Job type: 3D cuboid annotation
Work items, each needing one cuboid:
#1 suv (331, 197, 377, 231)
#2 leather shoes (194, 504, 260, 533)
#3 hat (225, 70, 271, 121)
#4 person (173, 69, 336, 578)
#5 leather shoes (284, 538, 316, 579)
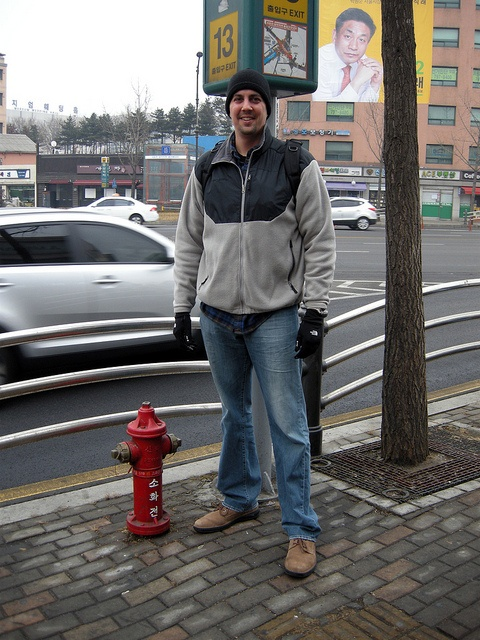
[{"bbox_3d":[5.865,-5.481,29.936,2.302,1.777,1.332,-1,5,-2],"label":"suv"},{"bbox_3d":[-0.063,0.872,2.587,0.281,0.094,0.090,-2,-6,-26],"label":"leather shoes"},{"bbox_3d":[0.034,-0.920,2.347,0.169,0.165,0.183,1,-7,0],"label":"hat"},{"bbox_3d":[0.042,-0.026,2.357,0.338,1.909,0.743,-5,6,-40],"label":"person"},{"bbox_3d":[0.228,0.896,2.176,0.108,0.091,0.168,0,6,12],"label":"leather shoes"}]
